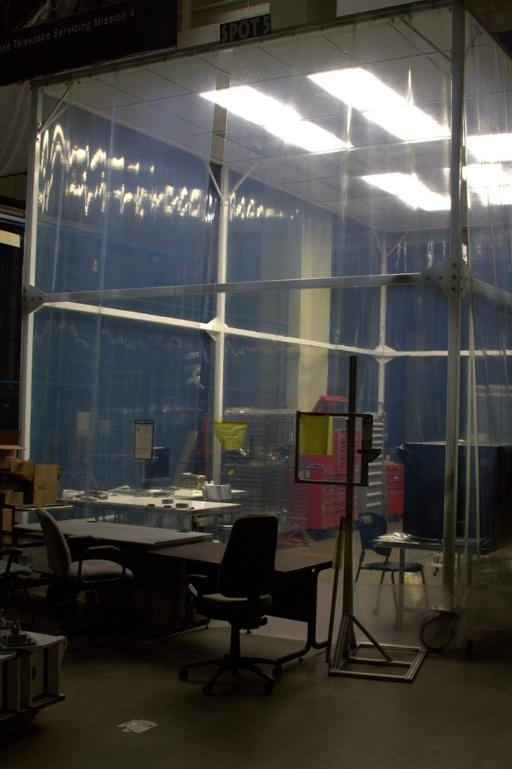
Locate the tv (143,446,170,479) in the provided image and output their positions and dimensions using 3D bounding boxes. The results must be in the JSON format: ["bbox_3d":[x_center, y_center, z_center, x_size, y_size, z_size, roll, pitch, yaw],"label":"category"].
[{"bbox_3d":[-0.758,0.608,5.515,0.248,0.257,0.023,-2,-6,36],"label":"tv"}]

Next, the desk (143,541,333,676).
[{"bbox_3d":[-0.091,1.338,4.419,1.098,0.646,0.925,1,-5,6],"label":"desk"}]
